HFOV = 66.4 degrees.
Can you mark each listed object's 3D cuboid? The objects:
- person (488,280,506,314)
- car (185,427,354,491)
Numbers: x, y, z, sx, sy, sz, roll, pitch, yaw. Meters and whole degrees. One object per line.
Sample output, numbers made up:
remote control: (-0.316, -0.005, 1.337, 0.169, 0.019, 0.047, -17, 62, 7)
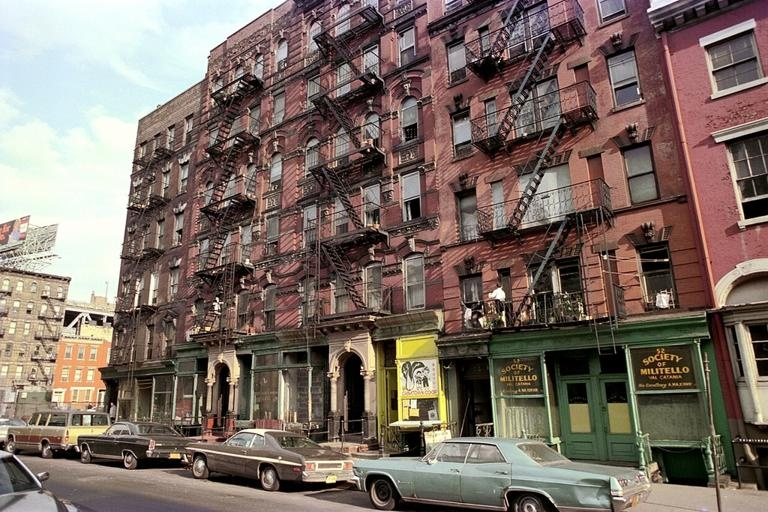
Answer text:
person: (5.080, 1.842, 26.293, 0.725, 1.618, 0.971, -5, -18, 9)
car: (-4.447, 7.759, 22.439, 6.213, 2.238, 1.430, -10, -19, 23)
